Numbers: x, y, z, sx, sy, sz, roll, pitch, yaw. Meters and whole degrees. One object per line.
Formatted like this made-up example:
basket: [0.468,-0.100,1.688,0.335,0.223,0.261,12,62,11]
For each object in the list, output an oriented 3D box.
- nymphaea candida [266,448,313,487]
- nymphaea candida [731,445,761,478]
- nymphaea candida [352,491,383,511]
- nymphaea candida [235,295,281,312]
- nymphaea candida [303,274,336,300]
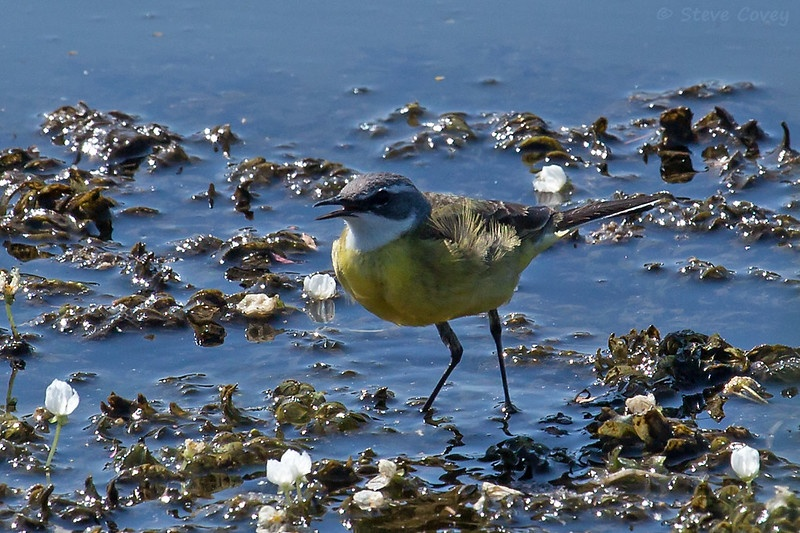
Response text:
nymphaea candida: [-0.842,1.501,7.366,0.299,0.148,0.332,-15,21,-26]
nymphaea candida: [2.615,1.497,7.454,0.174,0.260,0.167,-29,38,-33]
nymphaea candida: [-0.249,1.822,7.661,0.226,0.145,0.078,-12,19,1]
nymphaea candida: [-1.374,0.365,9.599,0.246,0.060,0.226,-24,34,-29]
nymphaea candida: [-0.792,0.218,9.829,0.297,0.180,0.324,1,1,-44]
